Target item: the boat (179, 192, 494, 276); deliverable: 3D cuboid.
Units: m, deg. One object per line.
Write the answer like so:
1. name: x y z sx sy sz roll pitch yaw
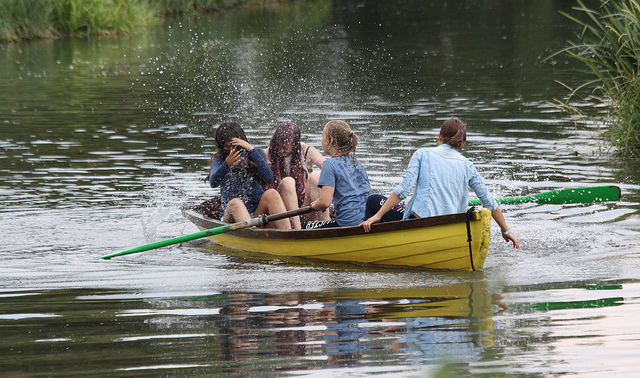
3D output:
1. boat: 0.255 0.741 15.629 5.109 0.750 1.529 1 6 22

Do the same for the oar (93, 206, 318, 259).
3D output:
1. oar: -1.745 0.711 15.952 3.274 0.202 0.177 -11 35 11

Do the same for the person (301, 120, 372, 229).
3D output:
1. person: 0.323 -0.233 15.784 1.053 1.528 1.232 1 0 4
